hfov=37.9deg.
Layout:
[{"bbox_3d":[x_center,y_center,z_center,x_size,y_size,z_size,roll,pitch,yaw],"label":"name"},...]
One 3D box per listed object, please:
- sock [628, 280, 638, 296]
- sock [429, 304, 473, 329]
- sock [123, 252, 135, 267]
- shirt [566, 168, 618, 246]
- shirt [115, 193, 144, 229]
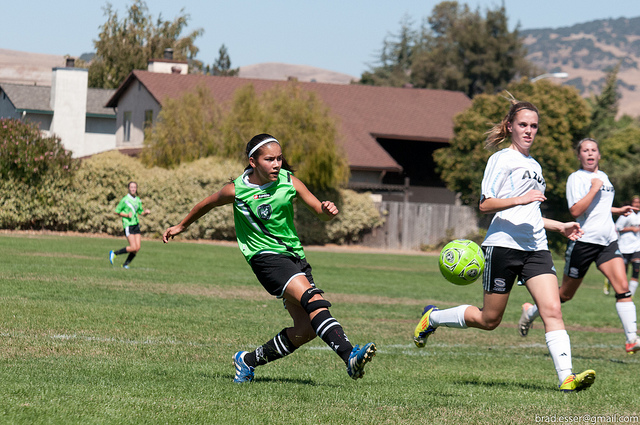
[{"bbox_3d":[9.072,2.150,27.009,0.199,0.512,1.702,5,7,18],"label":"sock"},{"bbox_3d":[2.617,2.074,18.769,0.741,0.410,0.338,-3,3,21],"label":"sock"},{"bbox_3d":[-5.908,1.369,28.702,0.332,0.423,0.542,2,7,-11],"label":"sock"},{"bbox_3d":[6.572,-0.114,20.200,1.337,1.633,0.826,-19,5,29],"label":"shirt"},{"bbox_3d":[-5.938,-0.065,28.957,0.822,1.033,0.702,0,7,-24],"label":"shirt"}]
